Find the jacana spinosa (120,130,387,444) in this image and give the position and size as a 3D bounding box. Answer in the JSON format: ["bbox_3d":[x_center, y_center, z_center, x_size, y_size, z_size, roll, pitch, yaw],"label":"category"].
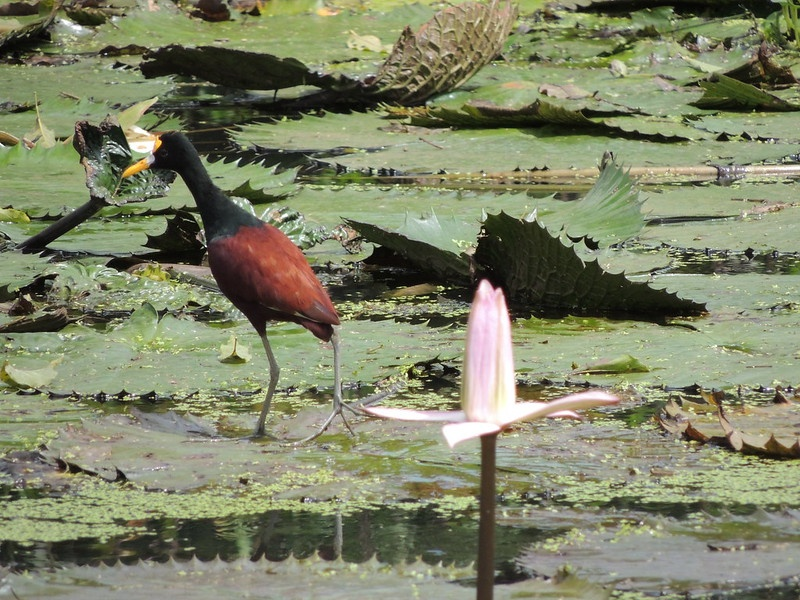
[{"bbox_3d":[-0.439,-0.084,2.892,0.429,0.915,0.883,-5,4,-16],"label":"jacana spinosa"}]

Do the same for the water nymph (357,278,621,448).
[{"bbox_3d":[0.129,0.089,1.445,0.375,0.233,0.159,-2,4,-2],"label":"water nymph"}]
